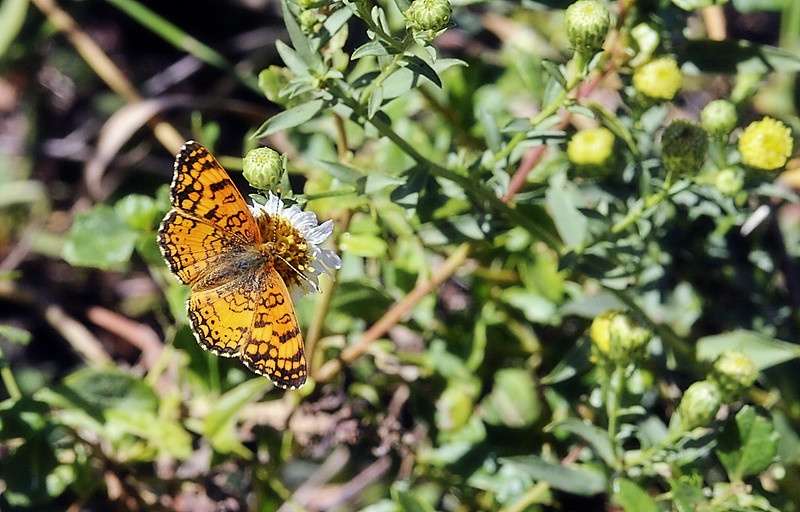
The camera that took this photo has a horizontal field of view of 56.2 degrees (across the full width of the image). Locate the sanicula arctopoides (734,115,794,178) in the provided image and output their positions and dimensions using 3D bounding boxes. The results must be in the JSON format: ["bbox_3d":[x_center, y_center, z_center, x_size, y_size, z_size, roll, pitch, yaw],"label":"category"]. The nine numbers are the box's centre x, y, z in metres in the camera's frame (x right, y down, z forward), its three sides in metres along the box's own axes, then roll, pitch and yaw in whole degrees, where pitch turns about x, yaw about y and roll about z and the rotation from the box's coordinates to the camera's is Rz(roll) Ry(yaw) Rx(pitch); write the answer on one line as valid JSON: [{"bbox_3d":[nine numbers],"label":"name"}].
[{"bbox_3d":[1.151,-0.350,2.350,0.161,0.155,0.054,-7,-5,-1],"label":"sanicula arctopoides"}]

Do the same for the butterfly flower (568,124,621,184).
[{"bbox_3d":[0.656,-0.350,2.582,0.170,0.169,0.161,-43,43,-13],"label":"butterfly flower"}]

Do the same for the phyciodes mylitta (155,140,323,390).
[{"bbox_3d":[-0.497,-0.056,2.508,0.684,0.711,0.576,-10,22,-23],"label":"phyciodes mylitta"}]
